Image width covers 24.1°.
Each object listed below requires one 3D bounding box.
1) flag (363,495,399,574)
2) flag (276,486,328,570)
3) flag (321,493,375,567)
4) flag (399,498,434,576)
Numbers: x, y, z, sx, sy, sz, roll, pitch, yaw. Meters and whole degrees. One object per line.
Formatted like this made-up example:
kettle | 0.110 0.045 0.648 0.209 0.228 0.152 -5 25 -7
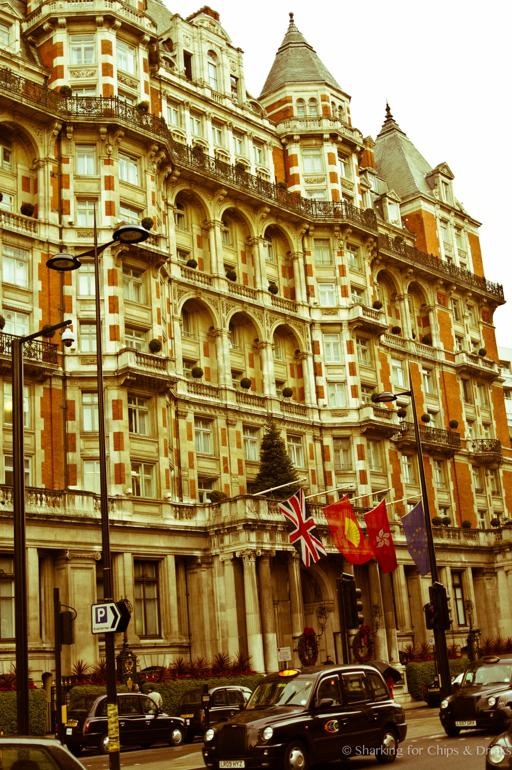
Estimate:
flag | 4.776 5.840 47.056 0.968 2.956 1.156 -16 -16 18
flag | 1.614 5.064 42.783 1.329 2.903 1.177 -6 -20 1
flag | 3.394 5.510 45.365 0.868 2.217 2.900 -11 -21 15
flag | 6.125 5.842 45.526 0.879 2.873 1.122 3 -18 -25
